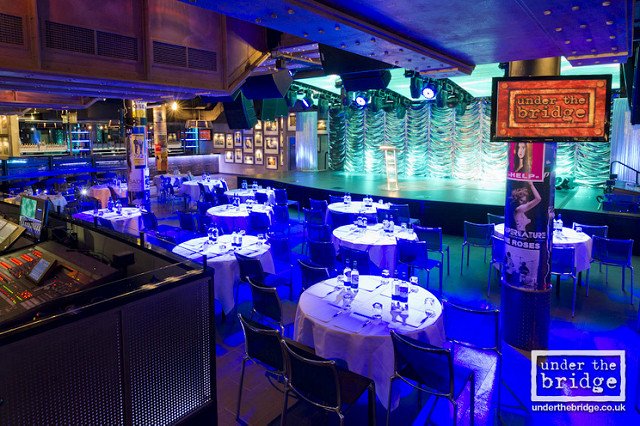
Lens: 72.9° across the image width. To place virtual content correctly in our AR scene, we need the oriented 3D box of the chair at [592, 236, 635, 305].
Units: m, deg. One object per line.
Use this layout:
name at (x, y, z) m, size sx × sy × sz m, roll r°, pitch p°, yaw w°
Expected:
chair at (5.199, 0.850, 7.624) m, size 0.656 × 1.003 × 1.345 m, roll 6°, pitch 13°, yaw 36°

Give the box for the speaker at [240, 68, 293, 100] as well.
speaker at (-1.177, -2.810, 9.572) m, size 0.914 × 0.493 × 0.608 m, roll -2°, pitch 18°, yaw 31°

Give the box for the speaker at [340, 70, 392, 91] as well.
speaker at (0.766, -2.272, 7.422) m, size 0.963 × 0.322 × 0.721 m, roll 5°, pitch 20°, yaw 19°

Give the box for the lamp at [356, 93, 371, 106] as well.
lamp at (1.397, -3.719, 14.261) m, size 0.437 × 0.400 × 0.924 m, roll 2°, pitch 11°, yaw 17°

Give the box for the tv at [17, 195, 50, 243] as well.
tv at (-4.048, 0.113, 6.075) m, size 0.723 × 0.505 × 0.094 m, roll 1°, pitch 6°, yaw 39°
